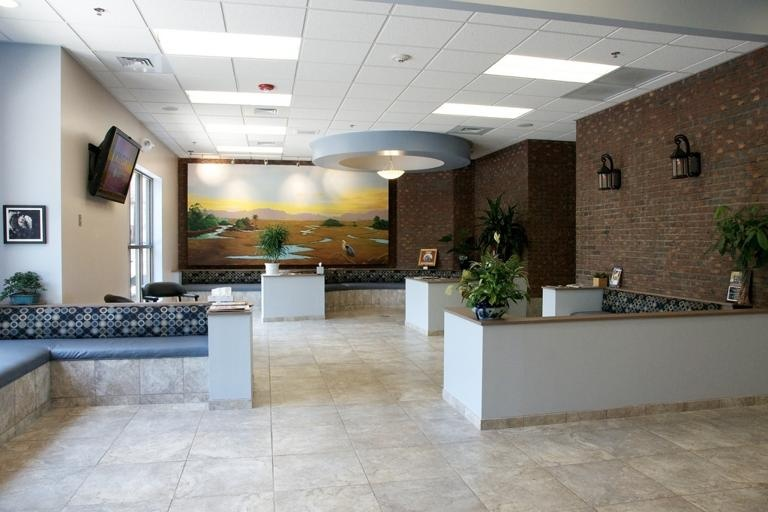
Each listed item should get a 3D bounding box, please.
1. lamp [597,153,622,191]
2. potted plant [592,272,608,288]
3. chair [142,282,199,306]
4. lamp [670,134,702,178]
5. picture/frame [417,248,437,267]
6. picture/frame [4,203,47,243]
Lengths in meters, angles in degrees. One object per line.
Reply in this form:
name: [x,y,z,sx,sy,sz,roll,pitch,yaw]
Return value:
lamp: [4.167,-1.584,8.822,0.386,0.677,0.460,-1,13,-6]
potted plant: [4.078,0.437,8.797,0.318,0.253,0.309,-2,-3,36]
chair: [-4.322,0.713,9.361,0.813,0.766,0.755,-1,-4,-33]
lamp: [4.717,-1.577,7.404,0.334,0.702,0.440,-5,14,-21]
picture/frame: [1.319,0.024,14.006,0.754,0.533,0.070,2,-11,18]
picture/frame: [-4.952,-0.455,6.478,0.762,0.581,0.053,-1,-1,-16]
